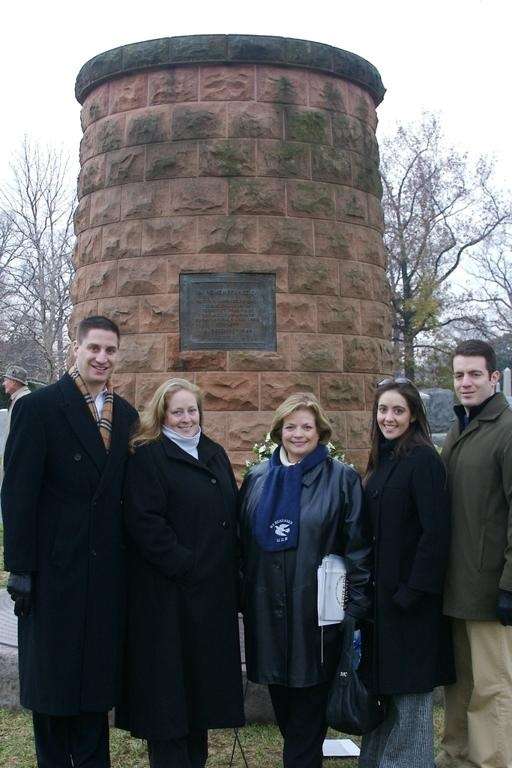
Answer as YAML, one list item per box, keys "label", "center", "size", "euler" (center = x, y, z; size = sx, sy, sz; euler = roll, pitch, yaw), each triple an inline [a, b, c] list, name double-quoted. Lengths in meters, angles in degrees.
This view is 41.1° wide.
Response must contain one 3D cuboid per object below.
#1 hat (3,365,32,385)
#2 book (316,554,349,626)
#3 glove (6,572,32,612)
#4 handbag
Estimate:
- label: "hat"
  center: [-2.974, -0.148, 8.491]
  size: [0.344, 0.181, 0.354]
  euler: [7, -8, -2]
- label: "book"
  center: [0.296, 0.788, 2.643]
  size: [0.077, 0.227, 0.176]
  euler: [1, -3, 20]
- label: "glove"
  center: [-0.938, 0.825, 2.705]
  size: [0.089, 0.160, 0.101]
  euler: [1, -10, -22]
- label: "handbag"
  center: [0.403, 1.120, 2.665]
  size: [0.298, 0.416, 0.133]
  euler: [6, -13, -43]
